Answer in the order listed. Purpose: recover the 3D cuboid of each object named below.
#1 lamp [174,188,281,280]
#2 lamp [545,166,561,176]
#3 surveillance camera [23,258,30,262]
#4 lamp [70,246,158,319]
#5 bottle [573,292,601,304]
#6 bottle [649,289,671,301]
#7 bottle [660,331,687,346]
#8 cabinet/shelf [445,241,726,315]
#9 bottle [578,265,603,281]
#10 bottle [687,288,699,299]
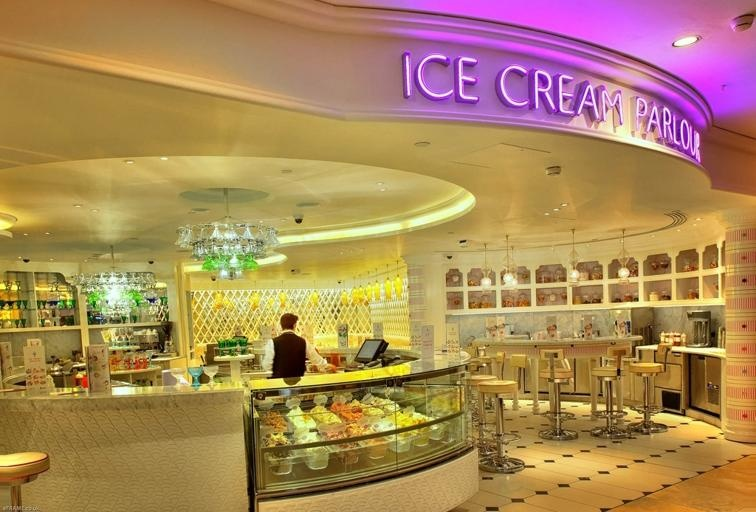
[{"bbox_3d":[-2.239,-0.266,7.972,1.712,1.642,1.469,0,-1,15],"label":"lamp"},{"bbox_3d":[1.835,-0.898,5.357,0.118,0.035,0.103,1,-4,-25],"label":"lamp"},{"bbox_3d":[-7.281,0.073,10.612,0.105,0.052,0.090,0,-4,6],"label":"surveillance camera"},{"bbox_3d":[-5.595,0.580,10.998,1.459,0.974,1.328,3,9,34],"label":"lamp"},{"bbox_3d":[4.905,0.990,11.886,0.544,0.165,0.268,-1,-2,28],"label":"bottle"},{"bbox_3d":[5.879,0.797,10.658,0.328,0.132,0.277,0,-1,-16],"label":"bottle"},{"bbox_3d":[5.899,1.644,10.207,0.493,0.182,0.444,0,-3,25],"label":"bottle"},{"bbox_3d":[4.971,0.380,11.961,8.703,1.445,0.838,0,-4,-25],"label":"cabinet/shelf"},{"bbox_3d":[4.950,0.389,11.866,0.159,0.301,0.445,6,-7,-37],"label":"bottle"},{"bbox_3d":[6.123,0.742,9.919,0.210,0.171,0.193,-1,-5,29],"label":"bottle"}]
